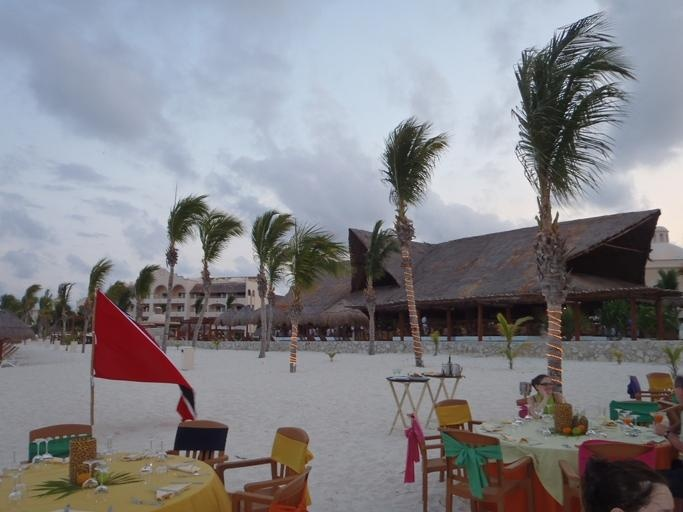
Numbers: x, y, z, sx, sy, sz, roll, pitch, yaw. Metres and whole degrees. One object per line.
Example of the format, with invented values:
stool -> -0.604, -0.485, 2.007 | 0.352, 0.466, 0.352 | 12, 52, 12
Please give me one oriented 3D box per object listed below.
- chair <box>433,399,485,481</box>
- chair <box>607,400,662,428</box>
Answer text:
chair -> 1.565, 2.373, 6.845 | 0.595, 0.863, 0.616 | -7, -12, -2
chair -> 4.492, 2.336, 7.887 | 0.599, 0.298, 0.622 | -5, -8, 27
